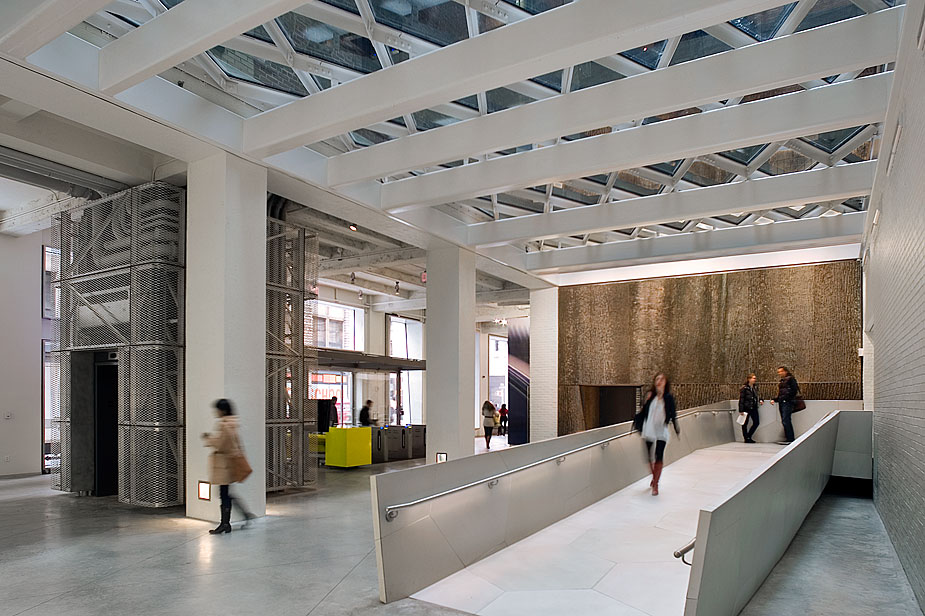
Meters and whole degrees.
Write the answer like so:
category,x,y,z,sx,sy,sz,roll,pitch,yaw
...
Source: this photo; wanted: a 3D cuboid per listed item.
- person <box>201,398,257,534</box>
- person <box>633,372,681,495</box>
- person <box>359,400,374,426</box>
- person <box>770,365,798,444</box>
category,x,y,z,sx,sy,sz,roll,pitch,yaw
person,-3.997,2.642,9.966,0.714,2.223,0.963,-2,-7,-20
person,3.651,2.368,11.200,0.768,2.244,0.771,-7,-7,21
person,-3.374,3.614,20.478,0.467,0.850,1.405,-3,-7,-10
person,9.484,2.815,17.231,0.600,2.259,1.342,-8,-8,28
